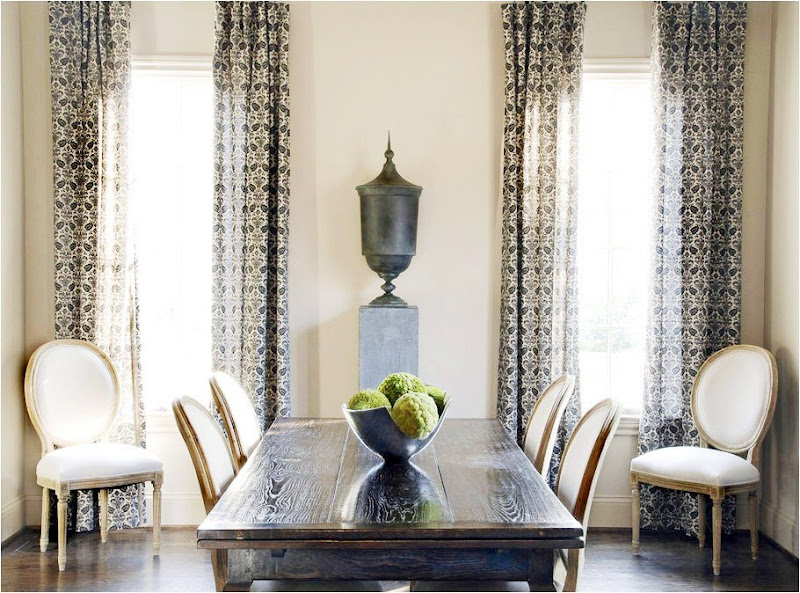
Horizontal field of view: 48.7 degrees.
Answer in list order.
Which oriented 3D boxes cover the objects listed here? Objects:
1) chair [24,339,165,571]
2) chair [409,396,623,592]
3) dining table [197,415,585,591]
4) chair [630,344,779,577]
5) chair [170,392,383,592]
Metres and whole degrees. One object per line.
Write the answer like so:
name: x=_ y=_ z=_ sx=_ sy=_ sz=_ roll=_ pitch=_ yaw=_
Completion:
chair: x=-1.924 y=0.942 z=5.582 sx=0.747 sy=1.234 sz=0.821 roll=-6 pitch=15 yaw=-24
chair: x=0.604 y=1.010 z=4.756 sx=1.034 sy=1.530 sz=0.884 roll=3 pitch=-8 yaw=5
dining table: x=-0.125 y=1.049 z=4.263 sx=1.616 sy=0.421 sz=1.214 roll=-2 pitch=13 yaw=-11
chair: x=1.897 y=0.974 z=5.559 sx=0.775 sy=1.258 sz=0.831 roll=6 pitch=15 yaw=25
chair: x=-0.581 y=0.971 z=4.637 sx=1.015 sy=1.501 sz=0.881 roll=-5 pitch=-3 yaw=-4
